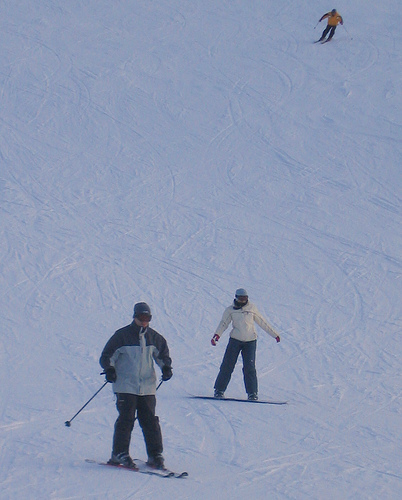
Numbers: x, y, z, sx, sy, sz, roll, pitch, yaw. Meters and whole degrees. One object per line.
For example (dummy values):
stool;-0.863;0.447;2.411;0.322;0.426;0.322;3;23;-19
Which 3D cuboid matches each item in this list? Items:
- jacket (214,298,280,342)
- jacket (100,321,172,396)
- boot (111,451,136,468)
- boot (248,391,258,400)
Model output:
jacket;0.625;0.992;15.532;0.938;0.723;0.301;0;29;10
jacket;-0.847;1.431;13.862;0.919;1.010;0.497;5;-11;-21
boot;-0.961;2.544;13.204;0.343;0.183;0.129;21;7;0
boot;0.728;2.071;15.406;0.096;0.105;0.115;4;-12;-16
